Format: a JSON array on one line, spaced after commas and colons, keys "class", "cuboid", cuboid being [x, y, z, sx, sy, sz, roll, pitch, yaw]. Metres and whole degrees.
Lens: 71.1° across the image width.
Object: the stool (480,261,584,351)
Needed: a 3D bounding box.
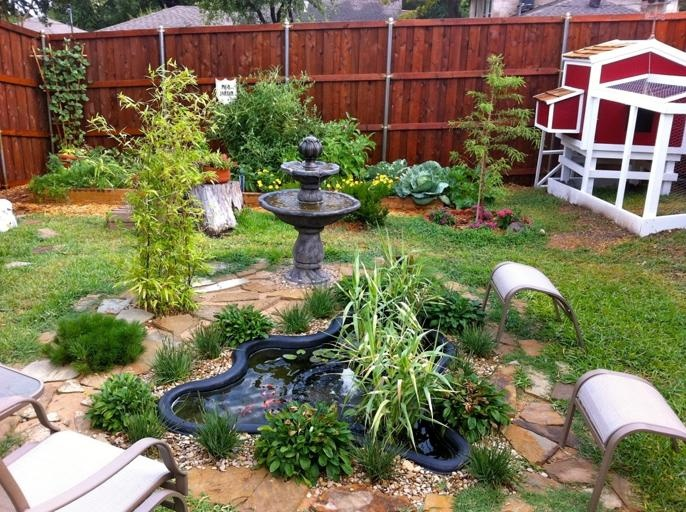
[{"class": "stool", "cuboid": [1.687, 0.430, 4.231, 0.791, 0.593, 0.662, 0, 20, 1]}]
